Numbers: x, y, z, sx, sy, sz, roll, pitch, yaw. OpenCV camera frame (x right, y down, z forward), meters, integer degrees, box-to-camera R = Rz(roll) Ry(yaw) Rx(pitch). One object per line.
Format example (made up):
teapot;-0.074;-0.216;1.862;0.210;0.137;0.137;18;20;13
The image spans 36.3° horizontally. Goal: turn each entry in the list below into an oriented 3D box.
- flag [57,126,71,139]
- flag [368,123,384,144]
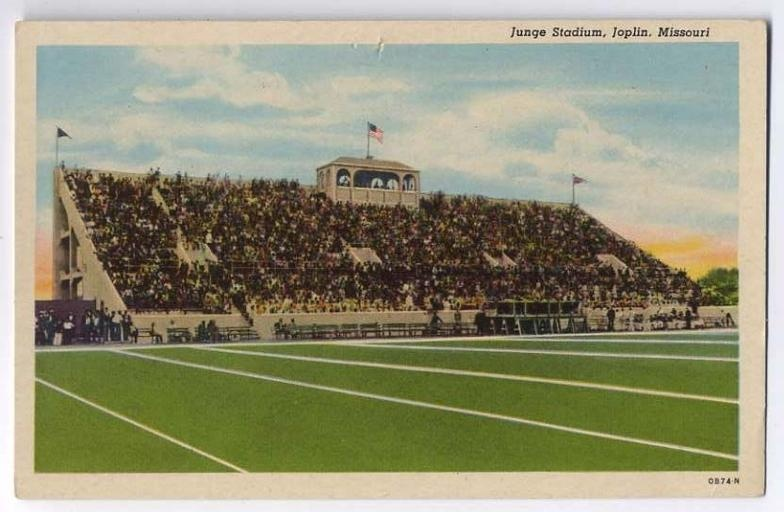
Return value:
flag;-7.591;-2.916;27.837;0.301;0.320;0.041;2;-2;-37
flag;-0.347;-2.918;28.162;0.428;0.450;0.063;10;-4;-3
